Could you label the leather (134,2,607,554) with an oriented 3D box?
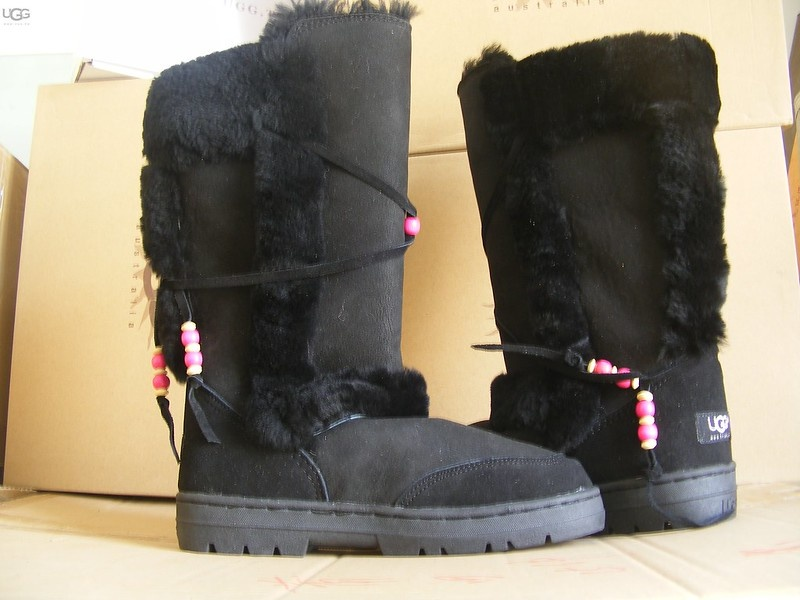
[{"bbox_3d":[-0.081,-0.052,1.374,0.693,0.901,0.180,-1,5,0],"label":"leather"}]
